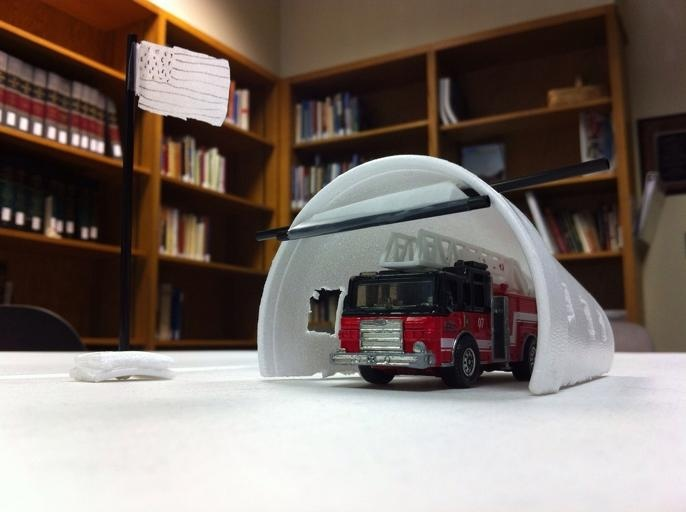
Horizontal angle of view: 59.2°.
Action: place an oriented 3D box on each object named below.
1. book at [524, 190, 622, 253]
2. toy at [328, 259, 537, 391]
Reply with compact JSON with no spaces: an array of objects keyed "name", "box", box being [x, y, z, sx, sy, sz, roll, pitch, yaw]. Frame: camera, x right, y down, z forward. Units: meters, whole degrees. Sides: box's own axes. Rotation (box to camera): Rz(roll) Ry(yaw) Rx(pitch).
[{"name":"book","box":[1.651,-0.211,4.250,0.339,0.414,0.091,-22,-17,23]},{"name":"toy","box":[0.419,0.276,2.443,0.406,0.421,0.879,-7,-12,34]}]
